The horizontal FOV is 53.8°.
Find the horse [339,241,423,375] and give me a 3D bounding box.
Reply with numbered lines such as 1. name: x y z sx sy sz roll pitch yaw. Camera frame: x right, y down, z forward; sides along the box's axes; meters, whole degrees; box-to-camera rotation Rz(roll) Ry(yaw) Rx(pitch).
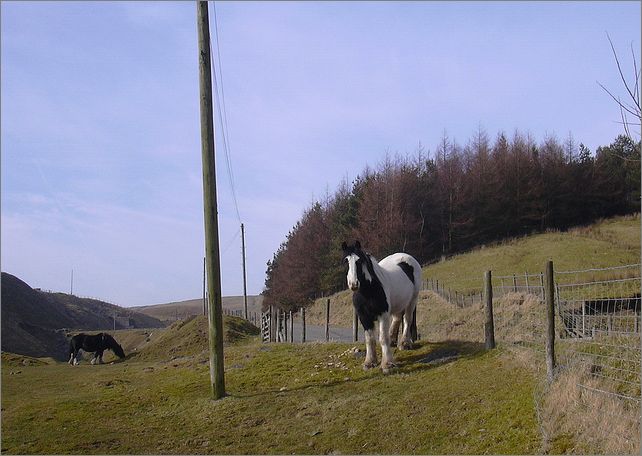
1. horse: 2.879 3.077 27.267 1.698 5.439 6.690 -2 2 32
